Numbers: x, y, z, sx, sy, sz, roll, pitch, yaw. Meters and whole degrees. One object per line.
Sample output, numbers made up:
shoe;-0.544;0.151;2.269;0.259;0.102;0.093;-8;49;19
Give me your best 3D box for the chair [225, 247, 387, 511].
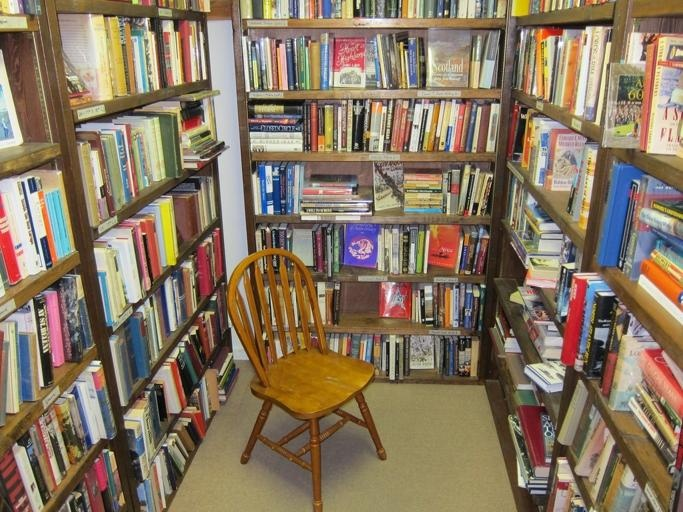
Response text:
chair;-0.199;0.715;2.845;0.759;1.382;0.755;19;32;37
